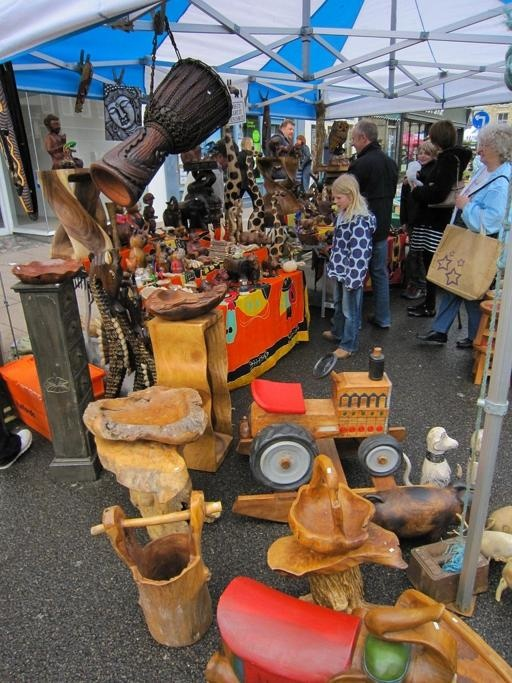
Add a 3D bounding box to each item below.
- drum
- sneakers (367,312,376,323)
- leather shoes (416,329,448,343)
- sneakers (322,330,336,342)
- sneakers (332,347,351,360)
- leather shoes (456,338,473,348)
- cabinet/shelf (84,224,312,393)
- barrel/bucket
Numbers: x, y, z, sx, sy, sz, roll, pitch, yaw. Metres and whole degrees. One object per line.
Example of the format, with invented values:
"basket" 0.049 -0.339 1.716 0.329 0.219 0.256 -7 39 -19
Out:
"drum" -0.492 -1.093 2.615 0.810 0.693 0.279 -19 27 -35
"sneakers" 1.289 -0.263 5.616 0.060 0.118 0.123 3 46 11
"leather shoes" 1.664 -0.016 4.852 0.323 0.150 0.113 6 40 7
"sneakers" 0.734 -0.041 5.117 0.145 0.137 0.066 31 66 26
"sneakers" 0.732 0.109 4.226 0.072 0.062 0.158 16 26 40
"leather shoes" 2.015 0.021 4.850 0.179 0.071 0.061 -5 31 6
"cabinet/shelf" -0.133 -0.248 4.659 1.623 0.744 1.584 17 34 16
"barrel/bucket" -0.352 0.820 1.849 0.411 0.700 0.326 -13 24 -22
